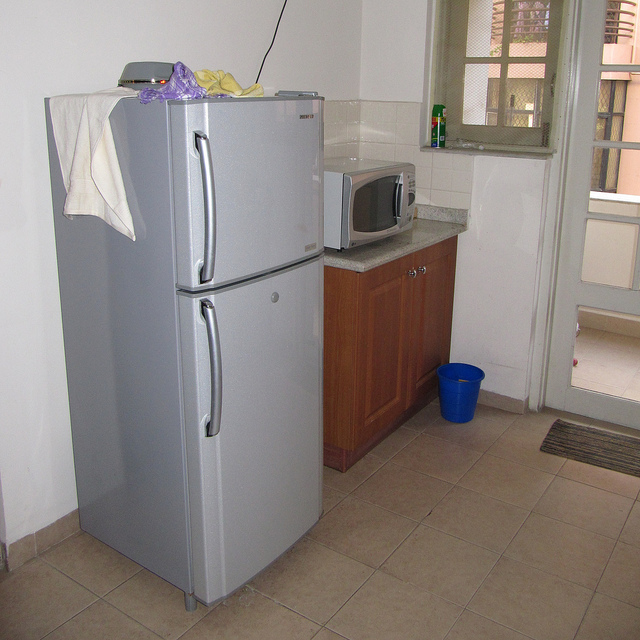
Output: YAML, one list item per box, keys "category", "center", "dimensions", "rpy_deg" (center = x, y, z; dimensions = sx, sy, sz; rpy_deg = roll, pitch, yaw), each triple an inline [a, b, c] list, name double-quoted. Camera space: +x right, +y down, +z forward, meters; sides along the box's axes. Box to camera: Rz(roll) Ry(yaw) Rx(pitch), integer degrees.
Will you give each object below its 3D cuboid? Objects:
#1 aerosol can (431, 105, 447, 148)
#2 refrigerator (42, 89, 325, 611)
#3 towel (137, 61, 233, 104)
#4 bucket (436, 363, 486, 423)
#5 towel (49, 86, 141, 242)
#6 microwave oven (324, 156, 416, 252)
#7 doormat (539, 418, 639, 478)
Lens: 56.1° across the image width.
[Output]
- category: "aerosol can"
  center: [0.659, -1.061, 3.272]
  dimensions: [0.124, 0.214, 0.057]
  rpy_deg: [-18, 24, -40]
- category: "refrigerator"
  center: [-0.413, 0.102, 1.890]
  dimensions: [0.843, 1.516, 0.512]
  rpy_deg: [0, 18, 6]
- category: "towel"
  center: [-0.372, -0.606, 1.527]
  dimensions: [0.173, 0.095, 0.109]
  rpy_deg: [-10, 21, -19]
- category: "bucket"
  center: [0.740, 0.334, 3.222]
  dimensions: [0.251, 0.283, 0.288]
  rpy_deg: [1, 25, 7]
- category: "towel"
  center: [-0.619, -0.406, 1.669]
  dimensions: [0.108, 0.415, 0.343]
  rpy_deg: [-9, 14, -41]
- category: "microwave oven"
  center: [0.231, -0.523, 2.647]
  dimensions: [0.140, 0.311, 0.559]
  rpy_deg: [13, 25, 38]
- category: "doormat"
  center: [1.318, 0.610, 2.935]
  dimensions: [0.429, 0.019, 0.360]
  rpy_deg: [9, 24, 28]
